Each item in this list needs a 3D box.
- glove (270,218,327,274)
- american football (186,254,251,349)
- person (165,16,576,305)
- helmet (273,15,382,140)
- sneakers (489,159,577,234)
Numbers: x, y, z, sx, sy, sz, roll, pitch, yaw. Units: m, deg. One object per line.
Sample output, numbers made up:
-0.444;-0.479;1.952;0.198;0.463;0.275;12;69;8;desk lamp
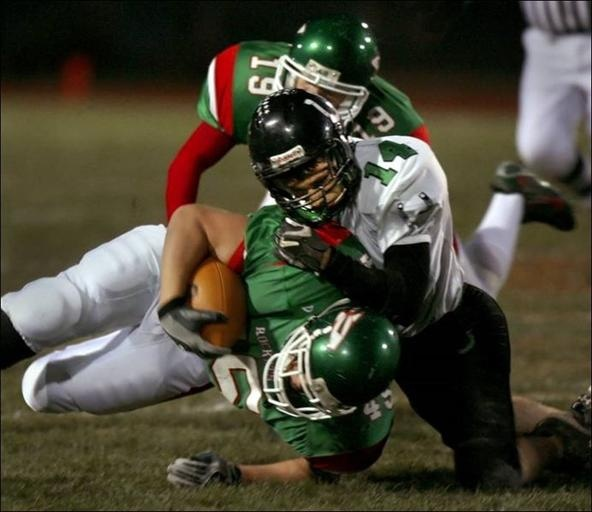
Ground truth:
0.019;-0.030;2.412;0.166;0.108;0.060;27;-19;-14;glove
-0.202;0.126;2.526;0.155;0.224;0.184;-20;-29;0;american football
0.303;-0.222;3.345;0.998;0.491;1.448;-19;-25;26;person
0.157;-0.626;2.995;0.339;0.343;0.396;27;37;-6;helmet
0.945;-0.234;3.536;0.338;0.216;0.136;27;7;-11;sneakers
